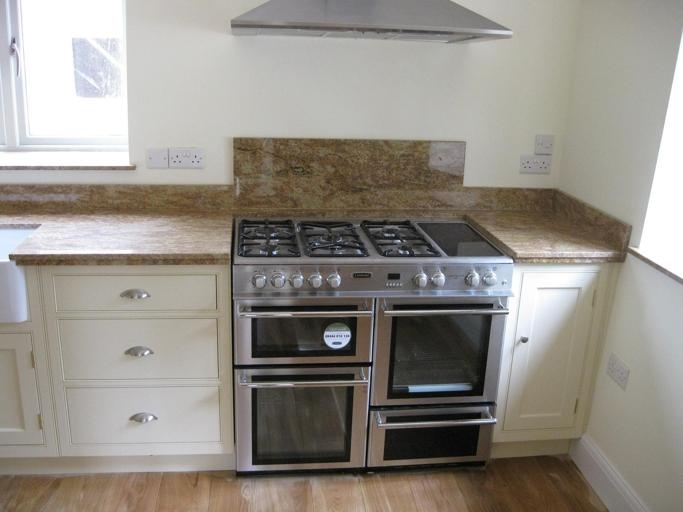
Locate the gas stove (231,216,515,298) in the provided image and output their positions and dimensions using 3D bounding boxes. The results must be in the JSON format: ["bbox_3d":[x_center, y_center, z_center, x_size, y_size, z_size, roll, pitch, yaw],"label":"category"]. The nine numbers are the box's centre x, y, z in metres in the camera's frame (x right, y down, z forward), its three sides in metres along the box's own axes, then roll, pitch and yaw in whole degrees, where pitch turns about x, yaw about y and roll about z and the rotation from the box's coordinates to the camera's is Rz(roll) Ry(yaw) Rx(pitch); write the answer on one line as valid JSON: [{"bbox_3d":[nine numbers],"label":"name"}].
[{"bbox_3d":[0.119,0.002,2.737,1.244,0.234,0.559,-1,19,-8],"label":"gas stove"}]

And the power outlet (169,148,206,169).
[{"bbox_3d":[-0.798,-0.502,2.976,0.208,0.119,0.102,-2,25,-9],"label":"power outlet"}]
